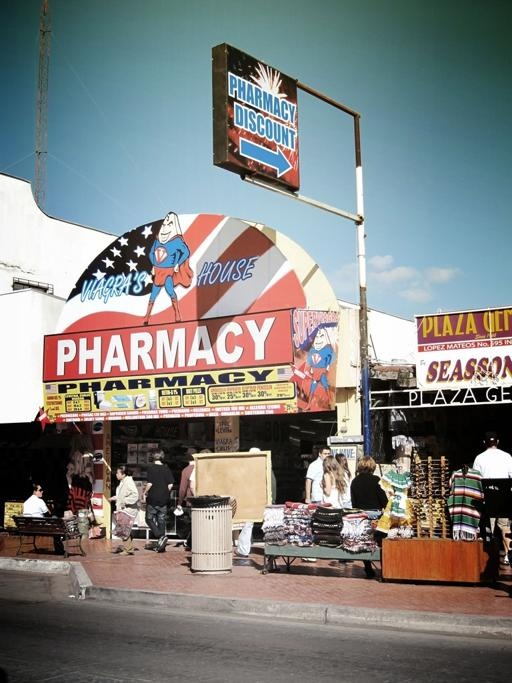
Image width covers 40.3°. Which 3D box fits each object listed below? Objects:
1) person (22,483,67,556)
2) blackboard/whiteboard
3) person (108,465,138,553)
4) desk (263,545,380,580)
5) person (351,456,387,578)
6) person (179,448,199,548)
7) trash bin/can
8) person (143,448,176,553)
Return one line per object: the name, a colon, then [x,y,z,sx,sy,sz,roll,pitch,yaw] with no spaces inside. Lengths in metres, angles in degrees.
person: [-4.200,3.417,13.988,0.752,1.651,0.874,1,-4,-42]
blackboard/whiteboard: [-0.358,2.422,11.460,1.268,1.068,0.094,-3,-8,31]
person: [-2.662,3.365,14.055,0.519,1.607,0.663,1,-5,-21]
desk: [0.971,3.253,10.225,1.853,0.616,0.767,-5,-10,23]
person: [1.632,2.491,10.007,0.599,1.561,0.564,-2,-4,34]
person: [-1.439,3.066,14.460,0.448,2.258,0.688,-1,-4,-17]
trash bin/can: [-0.622,2.885,10.562,0.663,1.109,0.627,-4,-7,34]
person: [-2.016,3.286,14.227,0.551,2.020,0.669,0,-5,-9]
